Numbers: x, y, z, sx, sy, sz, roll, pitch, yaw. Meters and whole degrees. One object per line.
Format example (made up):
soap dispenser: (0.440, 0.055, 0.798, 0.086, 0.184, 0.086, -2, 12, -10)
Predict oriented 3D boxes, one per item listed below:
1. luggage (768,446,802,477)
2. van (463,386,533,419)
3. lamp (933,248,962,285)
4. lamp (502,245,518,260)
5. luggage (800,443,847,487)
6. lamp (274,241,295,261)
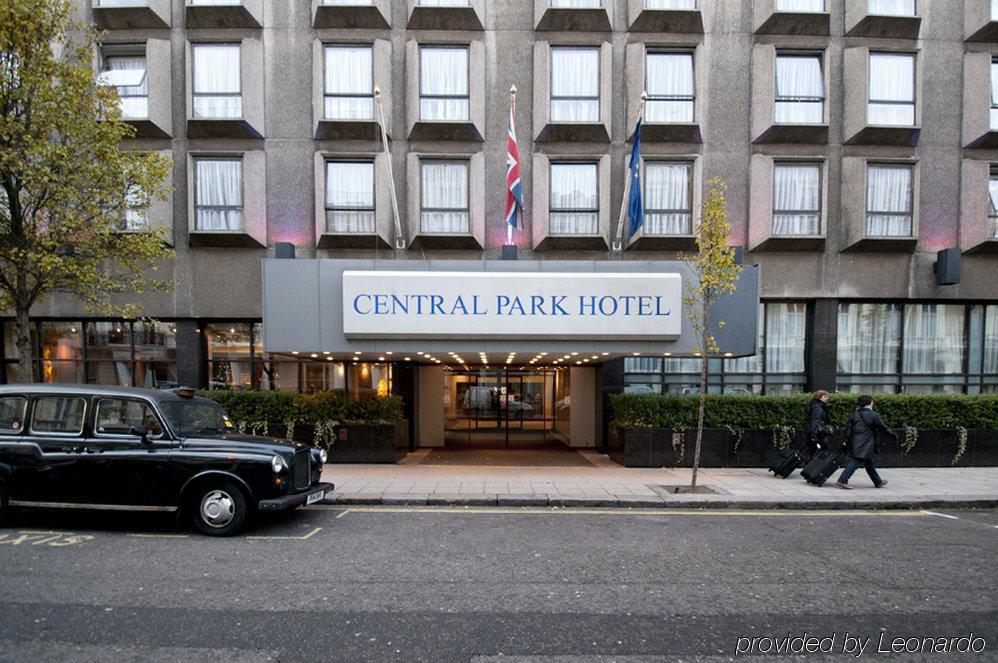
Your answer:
luggage: (8.762, 4.051, 37.910, 0.951, 0.857, 0.602, -1, -2, 11)
van: (-0.099, 2.463, 44.185, 2.045, 1.006, 1.192, -1, 0, 0)
lamp: (14.961, -2.146, 41.501, 0.852, 1.210, 0.622, -1, -2, 17)
lamp: (0.412, -2.585, 40.898, 0.473, 0.498, 0.471, 0, 7, -1)
luggage: (9.721, 4.061, 37.390, 1.031, 0.639, 1.595, 5, 44, 51)
lamp: (-6.953, -2.629, 40.661, 0.778, 0.588, 0.412, 1, 4, -2)
